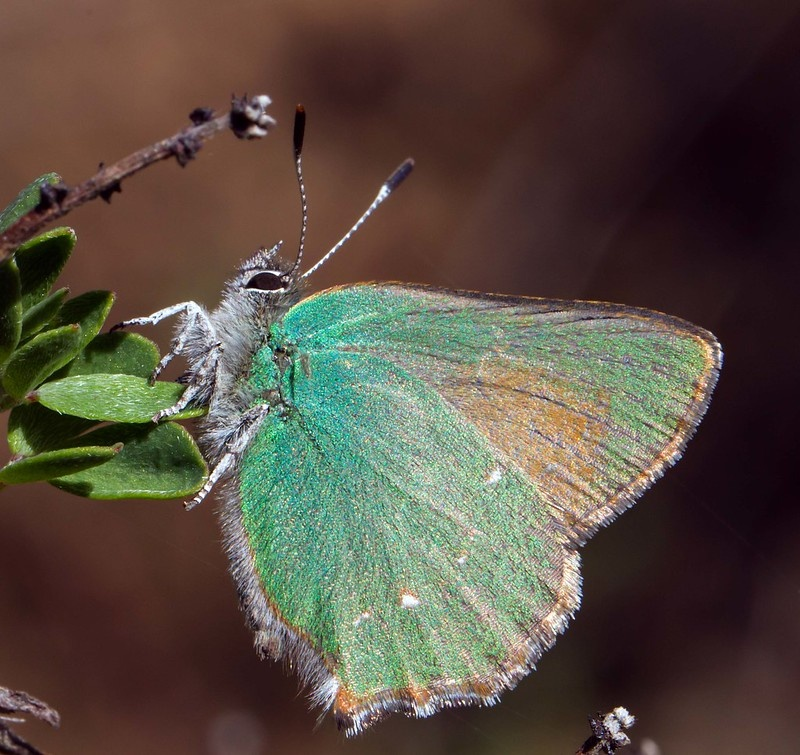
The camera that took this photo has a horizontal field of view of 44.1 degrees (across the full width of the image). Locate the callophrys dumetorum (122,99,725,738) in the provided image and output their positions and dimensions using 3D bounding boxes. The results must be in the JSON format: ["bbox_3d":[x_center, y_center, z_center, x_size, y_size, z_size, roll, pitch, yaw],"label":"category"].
[{"bbox_3d":[0.105,0.349,2.841,1.369,0.965,0.937,5,-53,1],"label":"callophrys dumetorum"}]
